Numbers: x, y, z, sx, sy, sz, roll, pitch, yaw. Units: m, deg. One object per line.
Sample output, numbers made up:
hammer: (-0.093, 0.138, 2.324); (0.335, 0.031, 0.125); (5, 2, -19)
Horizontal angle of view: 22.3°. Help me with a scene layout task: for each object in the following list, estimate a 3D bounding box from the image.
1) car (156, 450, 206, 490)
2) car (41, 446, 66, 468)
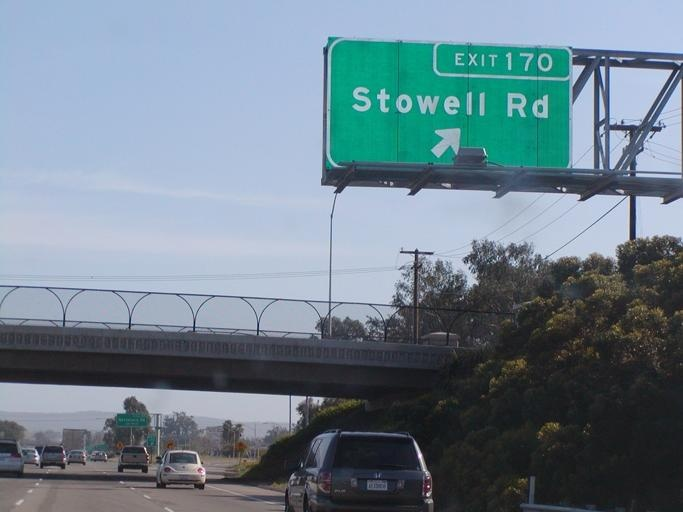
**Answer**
car: (-7.928, 10.608, 85.837); (1.301, 1.481, 2.622); (1, -1, -8)
car: (-18.777, 13.211, 113.315); (0.919, 1.069, 2.022); (1, 0, -8)
